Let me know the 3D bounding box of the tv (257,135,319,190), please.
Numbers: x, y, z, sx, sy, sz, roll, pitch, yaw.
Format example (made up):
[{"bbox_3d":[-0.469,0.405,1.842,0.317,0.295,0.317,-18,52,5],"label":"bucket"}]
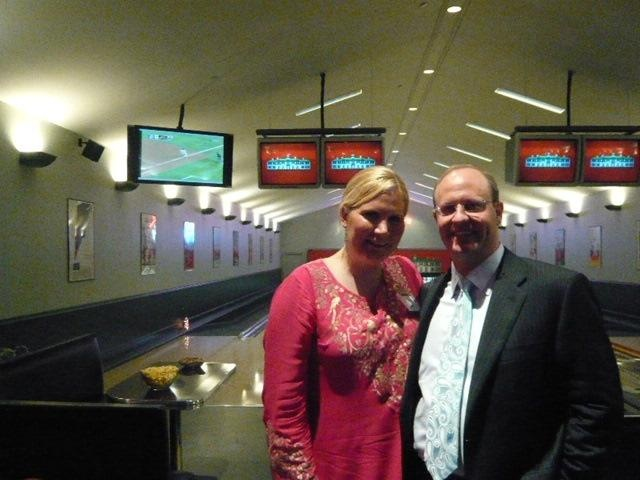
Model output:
[{"bbox_3d":[-0.355,-0.890,5.853,0.920,0.688,0.510,0,0,1],"label":"tv"}]

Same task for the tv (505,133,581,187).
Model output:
[{"bbox_3d":[2.574,-0.886,5.880,0.871,0.653,0.492,1,10,3],"label":"tv"}]

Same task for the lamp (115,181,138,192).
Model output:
[{"bbox_3d":[-2.557,-0.704,6.651,0.232,0.101,0.173,2,-6,-19],"label":"lamp"}]

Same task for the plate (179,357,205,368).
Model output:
[{"bbox_3d":[-0.999,0.956,3.941,0.119,0.029,0.108,2,-4,-35],"label":"plate"}]

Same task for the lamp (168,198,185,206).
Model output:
[{"bbox_3d":[-2.446,-0.638,8.601,0.227,0.128,0.270,2,-1,-4],"label":"lamp"}]

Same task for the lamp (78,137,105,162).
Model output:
[{"bbox_3d":[-2.680,-1.072,5.930,0.243,0.179,0.270,22,-10,-33],"label":"lamp"}]

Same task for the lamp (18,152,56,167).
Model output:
[{"bbox_3d":[-2.908,-0.814,5.221,0.274,0.165,0.230,2,-1,15],"label":"lamp"}]
